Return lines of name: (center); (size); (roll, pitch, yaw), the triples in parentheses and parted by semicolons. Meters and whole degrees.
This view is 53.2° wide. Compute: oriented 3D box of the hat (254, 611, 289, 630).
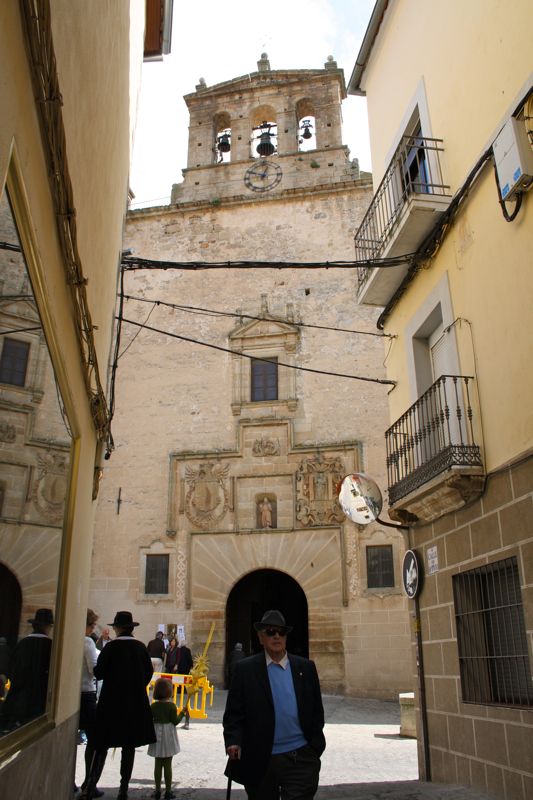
hat: (0.029, 1.305, 3.187); (0.176, 0.090, 0.228); (3, -29, -5)

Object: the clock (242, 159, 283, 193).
clock: (-0.112, -9.080, 21.592); (1.689, 1.851, 0.168); (-1, -20, 11)

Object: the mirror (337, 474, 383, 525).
mirror: (1.737, 1.761, 9.229); (0.766, 0.889, 0.166); (7, 5, 43)

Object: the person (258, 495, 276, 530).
person: (-0.012, 3.702, 17.632); (0.668, 1.167, 0.372); (-1, -20, 6)

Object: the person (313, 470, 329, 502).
person: (1.779, 2.806, 17.396); (0.481, 0.897, 0.131); (-2, -20, 8)
